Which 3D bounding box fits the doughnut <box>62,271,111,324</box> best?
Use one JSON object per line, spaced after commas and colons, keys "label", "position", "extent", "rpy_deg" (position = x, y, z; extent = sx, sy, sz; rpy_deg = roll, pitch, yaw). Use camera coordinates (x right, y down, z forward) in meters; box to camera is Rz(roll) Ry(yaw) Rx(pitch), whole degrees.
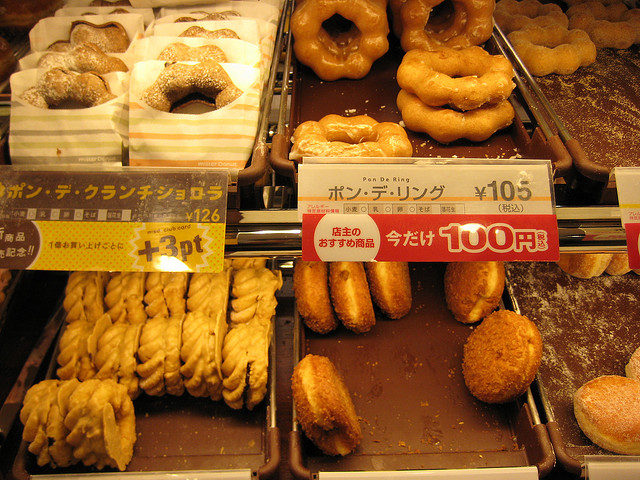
{"label": "doughnut", "position": [-0.757, 0.174, 1.697], "extent": [0.130, 0.194, 0.087], "rpy_deg": [1, -6, 0]}

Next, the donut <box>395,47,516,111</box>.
{"label": "donut", "position": [0.433, -0.515, 1.632], "extent": [0.257, 0.073, 0.262], "rpy_deg": [-24, 44, -27]}

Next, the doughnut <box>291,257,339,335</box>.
{"label": "doughnut", "position": [-0.017, 0.185, 1.699], "extent": [0.072, 0.235, 0.182], "rpy_deg": [-11, -13, 7]}

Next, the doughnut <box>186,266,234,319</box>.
{"label": "doughnut", "position": [-0.353, 0.169, 1.746], "extent": [0.105, 0.057, 0.169], "rpy_deg": [-1, 68, -1]}

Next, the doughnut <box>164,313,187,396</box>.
{"label": "doughnut", "position": [-0.443, 0.346, 1.595], "extent": [0.060, 0.192, 0.144], "rpy_deg": [0, -11, -6]}

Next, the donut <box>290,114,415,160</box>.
{"label": "donut", "position": [0.088, -0.300, 1.548], "extent": [0.218, 0.069, 0.226], "rpy_deg": [-18, 47, -24]}

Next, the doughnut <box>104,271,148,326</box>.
{"label": "doughnut", "position": [-0.622, 0.183, 1.684], "extent": [0.131, 0.246, 0.079], "rpy_deg": [-1, -6, 5]}

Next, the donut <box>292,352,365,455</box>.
{"label": "donut", "position": [0.019, 0.466, 1.514], "extent": [0.086, 0.256, 0.250], "rpy_deg": [-21, 7, 18]}

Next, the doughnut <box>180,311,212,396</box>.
{"label": "doughnut", "position": [-0.374, 0.330, 1.604], "extent": [0.062, 0.202, 0.160], "rpy_deg": [-1, 20, 2]}

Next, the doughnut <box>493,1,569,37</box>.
{"label": "doughnut", "position": [0.857, -0.901, 2.126], "extent": [0.171, 0.069, 0.189], "rpy_deg": [0, 41, 1]}

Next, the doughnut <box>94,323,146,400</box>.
{"label": "doughnut", "position": [-0.616, 0.374, 1.627], "extent": [0.140, 0.211, 0.081], "rpy_deg": [10, -10, -2]}

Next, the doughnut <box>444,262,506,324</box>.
{"label": "doughnut", "position": [0.503, 0.154, 1.782], "extent": [0.254, 0.085, 0.270], "rpy_deg": [6, 27, 44]}

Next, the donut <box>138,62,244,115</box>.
{"label": "donut", "position": [-0.386, -0.457, 1.584], "extent": [0.299, 0.138, 0.129], "rpy_deg": [-6, 35, -1]}

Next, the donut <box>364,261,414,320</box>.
{"label": "donut", "position": [0.235, 0.159, 1.769], "extent": [0.121, 0.262, 0.076], "rpy_deg": [-14, 5, -7]}

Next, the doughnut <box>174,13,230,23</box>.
{"label": "doughnut", "position": [-0.431, -0.806, 1.888], "extent": [0.190, 0.013, 0.108], "rpy_deg": [-12, 37, -8]}

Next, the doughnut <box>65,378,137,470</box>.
{"label": "doughnut", "position": [-0.636, 0.527, 1.516], "extent": [0.196, 0.235, 0.073], "rpy_deg": [-22, 5, -43]}

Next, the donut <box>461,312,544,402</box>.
{"label": "donut", "position": [0.556, 0.358, 1.606], "extent": [0.226, 0.195, 0.205], "rpy_deg": [7, 37, 17]}
